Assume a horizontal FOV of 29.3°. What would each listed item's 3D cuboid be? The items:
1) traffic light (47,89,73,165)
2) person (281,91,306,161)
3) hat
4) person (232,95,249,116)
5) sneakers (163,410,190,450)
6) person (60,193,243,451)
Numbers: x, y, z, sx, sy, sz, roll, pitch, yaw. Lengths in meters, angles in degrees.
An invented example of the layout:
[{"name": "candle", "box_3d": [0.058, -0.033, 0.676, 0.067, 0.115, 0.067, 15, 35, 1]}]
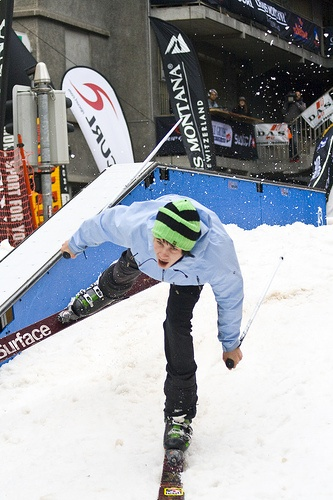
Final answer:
[{"name": "traffic light", "box_3d": [-1.049, -1.178, 6.128, 0.173, 0.715, 0.289, -3, 5, -10]}, {"name": "person", "box_3d": [3.355, -3.255, 16.681, 0.572, 1.826, 0.773, -1, 5, 9]}, {"name": "hat", "box_3d": [0.055, -0.140, 3.439, 0.217, 0.229, 0.274, 34, -1, -3]}, {"name": "person", "box_3d": [1.865, -3.685, 16.173, 0.209, 0.502, 0.783, 1, 6, 26]}, {"name": "sneakers", "box_3d": [0.054, 1.050, 3.672, 0.091, 0.138, 0.263, 6, 17, 0]}, {"name": "person", "box_3d": [-0.106, 0.413, 3.978, 0.641, 1.496, 1.364, -6, 7, -35]}]
